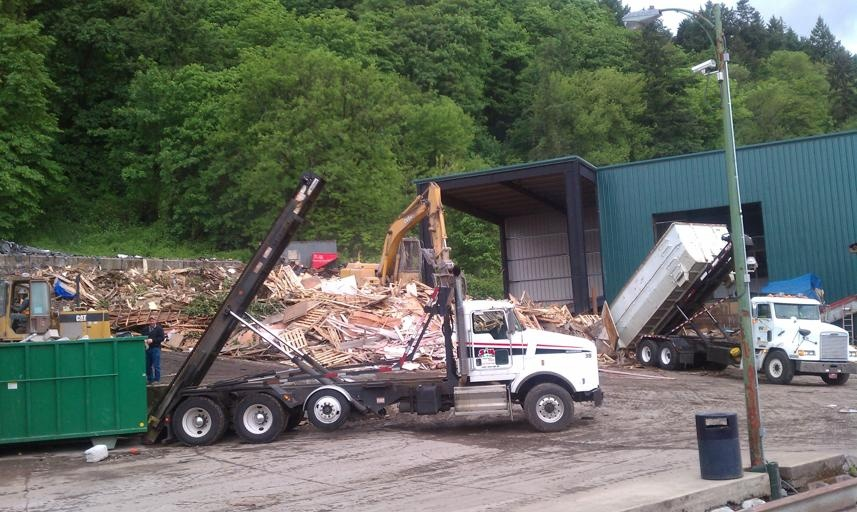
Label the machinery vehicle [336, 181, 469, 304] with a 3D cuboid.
[{"bbox_3d":[-1.601,-0.682,45.528,2.873,6.214,10.651,-3,3,-31],"label":"machinery vehicle"}]

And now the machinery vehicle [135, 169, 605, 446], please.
[{"bbox_3d":[-1.235,4.850,44.902,24.258,9.997,13.297,-2,-3,2],"label":"machinery vehicle"}]
